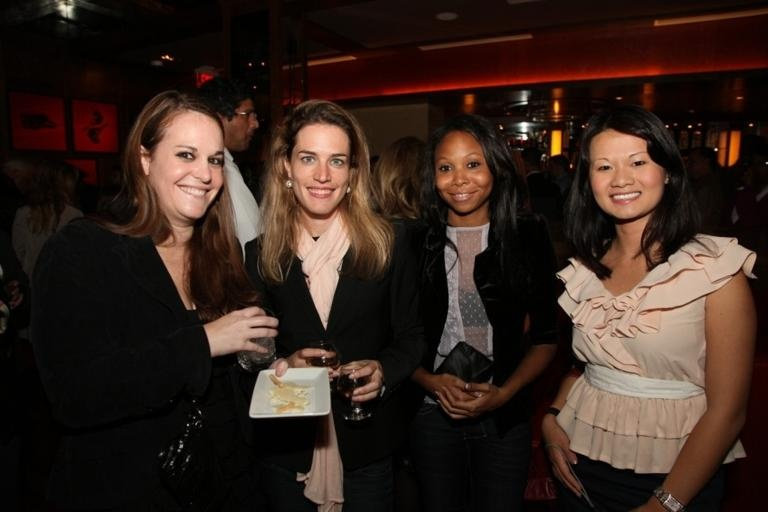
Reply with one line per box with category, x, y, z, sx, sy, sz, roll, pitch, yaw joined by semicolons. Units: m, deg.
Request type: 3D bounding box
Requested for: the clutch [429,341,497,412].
clutch;0.432;0.589;2.960;0.311;0.235;0.123;0;10;9
